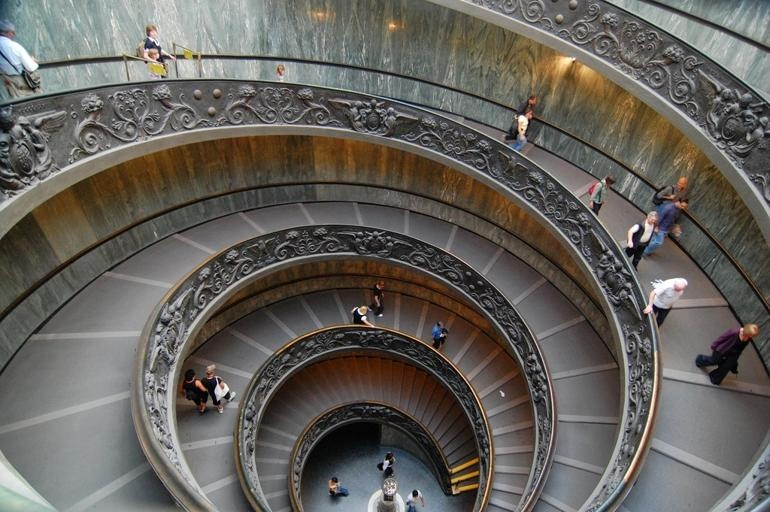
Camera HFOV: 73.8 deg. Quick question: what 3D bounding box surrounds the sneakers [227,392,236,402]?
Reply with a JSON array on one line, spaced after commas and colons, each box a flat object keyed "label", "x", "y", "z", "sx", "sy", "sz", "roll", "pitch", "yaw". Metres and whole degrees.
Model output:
[{"label": "sneakers", "x": -5.240, "y": 4.834, "z": 17.836, "sx": 0.151, "sy": 0.461, "sz": 0.200, "roll": 12, "pitch": -53, "yaw": 9}]

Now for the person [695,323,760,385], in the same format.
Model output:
[{"label": "person", "x": 9.471, "y": 2.621, "z": 14.230, "sx": 0.966, "sy": 0.806, "sz": 2.304, "roll": 38, "pitch": -42, "yaw": 32}]

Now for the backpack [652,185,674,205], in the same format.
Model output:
[{"label": "backpack", "x": 8.743, "y": -1.896, "z": 16.175, "sx": 0.655, "sy": 0.577, "sz": 0.366, "roll": -20, "pitch": 12, "yaw": -10}]

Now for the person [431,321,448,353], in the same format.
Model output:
[{"label": "person", "x": 2.261, "y": 3.408, "z": 21.132, "sx": 0.417, "sy": 0.492, "sz": 1.093, "roll": 29, "pitch": -18, "yaw": 19}]

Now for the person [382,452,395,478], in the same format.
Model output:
[{"label": "person", "x": 0.199, "y": 9.714, "z": 23.821, "sx": 0.550, "sy": 1.095, "sz": 1.453, "roll": 6, "pitch": -21, "yaw": 4}]

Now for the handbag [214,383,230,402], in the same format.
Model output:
[{"label": "handbag", "x": -5.462, "y": 4.629, "z": 17.309, "sx": 0.343, "sy": 0.295, "sz": 0.717, "roll": 27, "pitch": -22, "yaw": 1}]

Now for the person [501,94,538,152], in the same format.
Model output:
[{"label": "person", "x": 5.037, "y": -4.961, "z": 19.142, "sx": 1.127, "sy": 1.034, "sz": 2.231, "roll": 35, "pitch": -11, "yaw": 18}]

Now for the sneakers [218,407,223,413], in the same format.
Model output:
[{"label": "sneakers", "x": -5.589, "y": 5.324, "z": 17.654, "sx": 0.098, "sy": 0.259, "sz": 0.109, "roll": -13, "pitch": -21, "yaw": -15}]
